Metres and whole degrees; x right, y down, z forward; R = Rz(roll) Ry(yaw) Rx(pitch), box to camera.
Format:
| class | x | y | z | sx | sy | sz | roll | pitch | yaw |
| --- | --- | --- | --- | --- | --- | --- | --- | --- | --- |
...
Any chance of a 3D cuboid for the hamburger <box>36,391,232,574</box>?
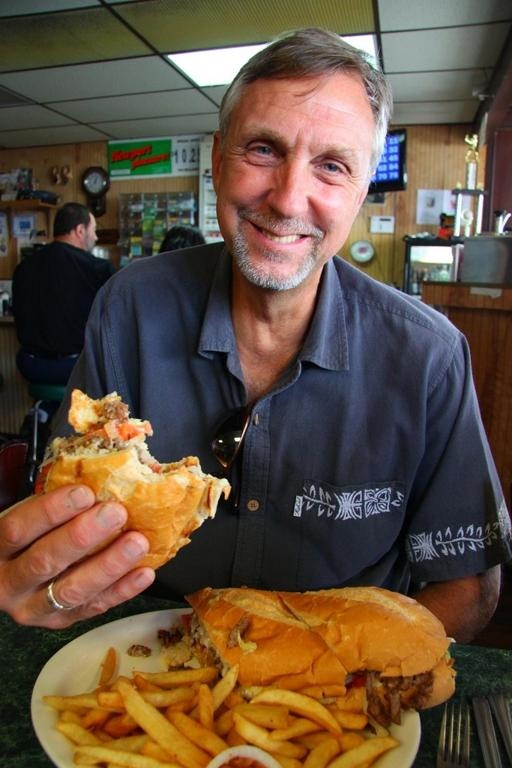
| class | x | y | z | sx | sy | sz | roll | pitch | yaw |
| --- | --- | --- | --- | --- | --- | --- | --- | --- | --- |
| hamburger | -0.176 | 0.102 | 0.912 | 0.247 | 0.134 | 0.319 | 33 | 17 | -19 |

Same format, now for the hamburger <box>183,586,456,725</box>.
| class | x | y | z | sx | sy | sz | roll | pitch | yaw |
| --- | --- | --- | --- | --- | --- | --- | --- | --- | --- |
| hamburger | 0.106 | 0.370 | 0.935 | 0.328 | 0.110 | 0.196 | 2 | -2 | 26 |
